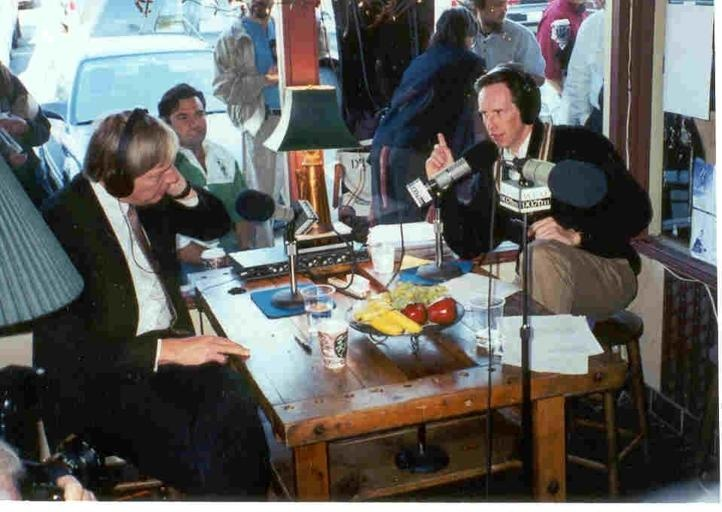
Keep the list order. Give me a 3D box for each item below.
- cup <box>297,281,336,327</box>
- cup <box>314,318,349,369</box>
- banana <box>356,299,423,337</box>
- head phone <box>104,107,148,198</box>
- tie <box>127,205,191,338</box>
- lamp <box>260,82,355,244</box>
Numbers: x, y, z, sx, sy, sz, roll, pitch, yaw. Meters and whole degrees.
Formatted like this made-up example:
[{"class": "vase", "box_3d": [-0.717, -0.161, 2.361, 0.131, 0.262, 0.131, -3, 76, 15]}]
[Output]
[{"class": "cup", "box_3d": [-0.167, 0.176, 2.721, 0.145, 0.182, 0.137, -1, 9, 0]}, {"class": "cup", "box_3d": [-0.093, 0.299, 2.511, 0.137, 0.166, 0.147, -2, 12, 1]}, {"class": "banana", "box_3d": [0.095, 0.223, 2.532, 0.223, 0.063, 0.109, 23, 58, 32]}, {"class": "head phone", "box_3d": [-1.108, -0.482, 3.284, 0.077, 0.336, 0.232, 14, -3, -14]}, {"class": "tie", "box_3d": [-0.967, 0.002, 3.433, 0.190, 0.829, 0.240, -7, -10, -15]}, {"class": "lamp", "box_3d": [-0.232, -0.456, 3.394, 0.507, 0.708, 0.492, 10, 17, 42]}]
